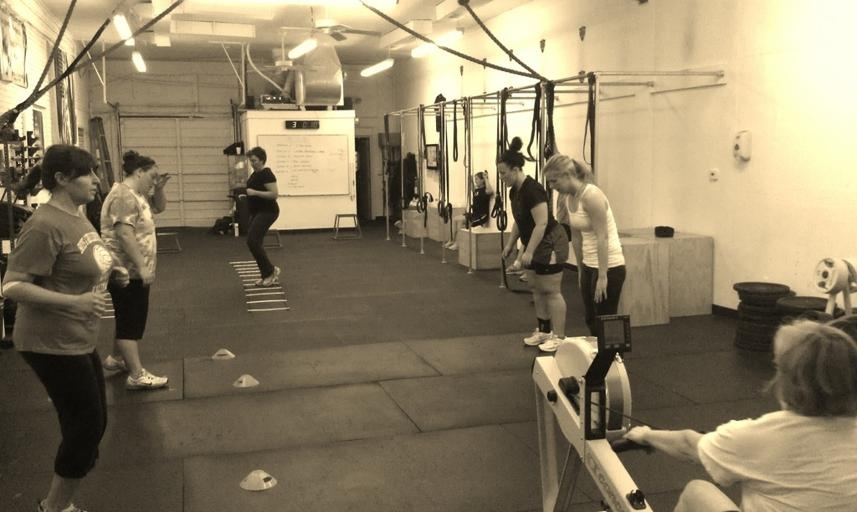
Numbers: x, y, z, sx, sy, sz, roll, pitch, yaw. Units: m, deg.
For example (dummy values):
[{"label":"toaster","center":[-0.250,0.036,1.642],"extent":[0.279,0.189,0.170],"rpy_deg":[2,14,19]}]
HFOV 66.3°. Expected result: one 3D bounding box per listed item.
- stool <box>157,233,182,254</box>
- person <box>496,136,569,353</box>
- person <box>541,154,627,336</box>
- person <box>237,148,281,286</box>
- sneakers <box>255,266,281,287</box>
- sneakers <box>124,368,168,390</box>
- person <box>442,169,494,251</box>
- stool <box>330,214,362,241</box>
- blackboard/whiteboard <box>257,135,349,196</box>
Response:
[{"label":"stool","center":[-5.519,-0.255,13.986],"extent":[0.357,0.290,0.453],"rpy_deg":[-4,9,-19]},{"label":"person","center":[1.116,-0.094,6.947],"extent":[0.841,2.144,0.813],"rpy_deg":[-2,2,-22]},{"label":"person","center":[1.486,-0.026,6.085],"extent":[0.529,1.768,0.868],"rpy_deg":[-10,18,-29]},{"label":"person","center":[-2.438,-0.530,9.601],"extent":[0.493,2.050,0.702],"rpy_deg":[-5,16,-15]},{"label":"sneakers","center":[-2.367,0.307,9.802],"extent":[0.237,0.116,0.408],"rpy_deg":[-6,19,-10]},{"label":"sneakers","center":[-2.613,1.151,6.155],"extent":[0.422,0.190,0.168],"rpy_deg":[-1,6,-20]},{"label":"person","center":[0.814,-0.871,11.917],"extent":[0.842,1.420,0.915],"rpy_deg":[9,12,40]},{"label":"stool","center":[-1.972,-0.689,15.934],"extent":[0.741,0.578,0.711],"rpy_deg":[-1,3,-13]},{"label":"blackboard/whiteboard","center":[-2.912,-2.119,14.990],"extent":[2.208,1.356,0.047],"rpy_deg":[-2,6,-17]}]
